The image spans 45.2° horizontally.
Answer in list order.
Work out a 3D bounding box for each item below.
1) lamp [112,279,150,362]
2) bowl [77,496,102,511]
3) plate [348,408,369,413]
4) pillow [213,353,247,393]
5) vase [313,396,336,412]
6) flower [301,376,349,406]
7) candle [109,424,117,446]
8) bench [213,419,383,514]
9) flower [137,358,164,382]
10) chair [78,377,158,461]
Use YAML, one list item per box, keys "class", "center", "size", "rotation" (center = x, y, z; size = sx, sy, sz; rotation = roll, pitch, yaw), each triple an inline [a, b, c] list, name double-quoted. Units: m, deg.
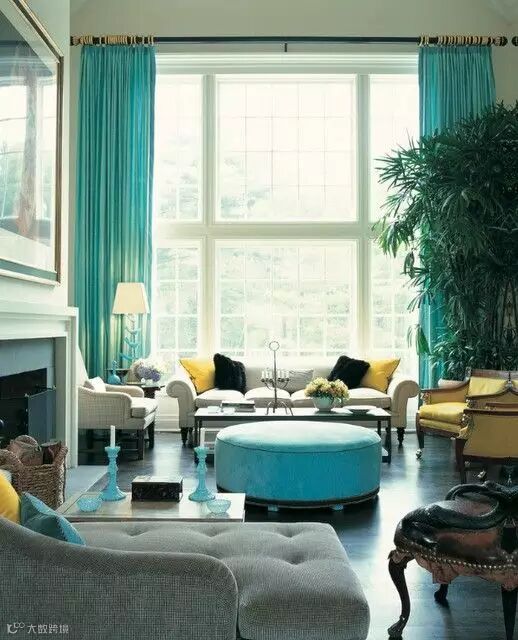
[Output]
- class: "lamp"
  center: [-1.280, 0.038, 6.222]
  size: [0.346, 0.829, 0.425]
  rotation: [-1, -1, -14]
- class: "bowl"
  center: [-0.716, 0.762, 2.605]
  size: [0.069, 0.043, 0.070]
  rotation: [-1, -3, 0]
- class: "plate"
  center: [0.786, 0.706, 4.849]
  size: [0.161, 0.043, 0.140]
  rotation: [-1, -1, 9]
- class: "pillow"
  center: [-0.279, 0.524, 6.061]
  size: [0.358, 0.360, 0.137]
  rotation: [17, -33, -42]
- class: "vase"
  center: [0.523, 0.670, 4.917]
  size: [0.131, 0.080, 0.132]
  rotation: [0, -9, 0]
- class: "flower"
  center: [0.549, 0.570, 4.976]
  size: [0.247, 0.178, 0.249]
  rotation: [1, -8, 1]
- class: "candle"
  center: [-0.655, 0.519, 2.793]
  size: [0.019, 0.103, 0.104]
  rotation: [0, -1, -18]
- class: "bench"
  center: [0.251, 0.882, 3.733]
  size: [1.013, 0.441, 0.559]
  rotation: [-1, -1, -5]
- class: "flower"
  center: [-1.023, 0.479, 5.960]
  size: [0.208, 0.165, 0.231]
  rotation: [2, -8, 41]
- class: "chair"
  center: [-1.123, 0.730, 5.236]
  size: [0.794, 0.789, 0.731]
  rotation: [0, -1, -2]
